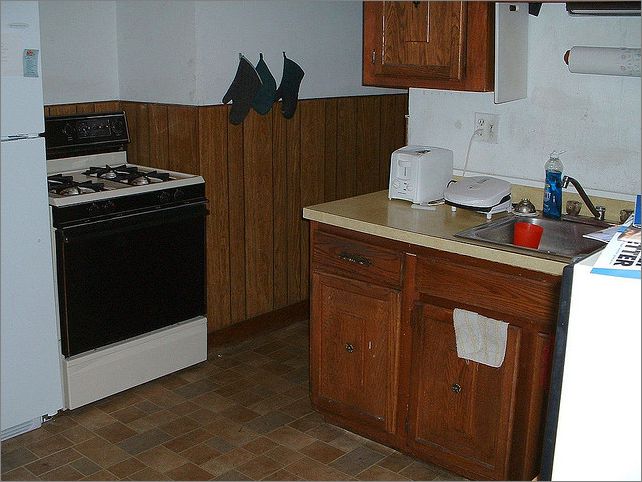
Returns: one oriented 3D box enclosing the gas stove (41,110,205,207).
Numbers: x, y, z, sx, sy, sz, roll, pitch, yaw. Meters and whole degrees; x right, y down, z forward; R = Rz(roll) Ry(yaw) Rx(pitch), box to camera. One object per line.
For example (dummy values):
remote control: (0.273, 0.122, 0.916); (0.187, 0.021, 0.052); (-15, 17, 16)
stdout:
gas stove: (-1.240, -0.391, 2.966); (0.794, 0.562, 0.775); (20, 24, 37)

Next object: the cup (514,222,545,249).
cup: (0.856, -0.022, 2.204); (0.125, 0.097, 0.112); (5, 8, -17)

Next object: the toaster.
toaster: (0.475, -0.318, 2.635); (0.287, 0.252, 0.285); (-14, 20, -37)

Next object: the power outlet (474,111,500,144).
power outlet: (0.839, -0.578, 2.653); (0.027, 0.152, 0.143); (-15, 20, -41)

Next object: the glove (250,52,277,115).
glove: (-0.376, -1.003, 3.346); (0.173, 0.363, 0.010); (2, 15, 17)

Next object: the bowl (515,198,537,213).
bowl: (0.936, -0.177, 2.414); (0.074, 0.041, 0.076); (-1, 19, 0)

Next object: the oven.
oven: (-1.210, 0.163, 3.058); (0.888, 1.132, 0.794); (-11, 21, -43)
